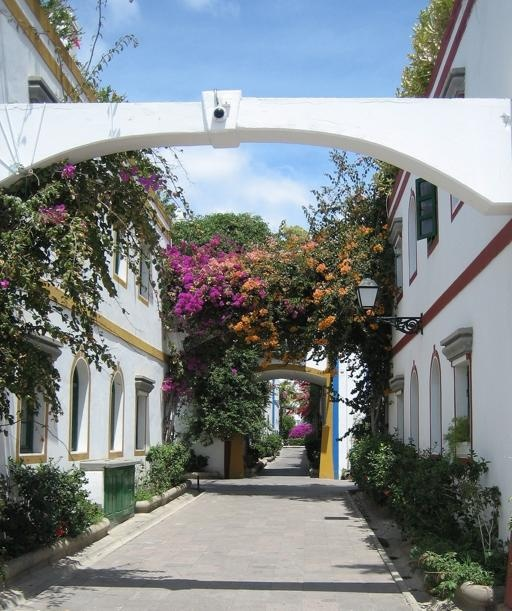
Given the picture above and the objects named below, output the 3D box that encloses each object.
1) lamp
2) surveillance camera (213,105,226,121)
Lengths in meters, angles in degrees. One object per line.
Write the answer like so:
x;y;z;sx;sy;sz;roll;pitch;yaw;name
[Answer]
2.541;-0.113;12.556;1.197;1.265;0.438;4;-13;-8;lamp
-0.289;-1.490;5.133;0.082;0.113;0.096;-1;-13;-3;surveillance camera
